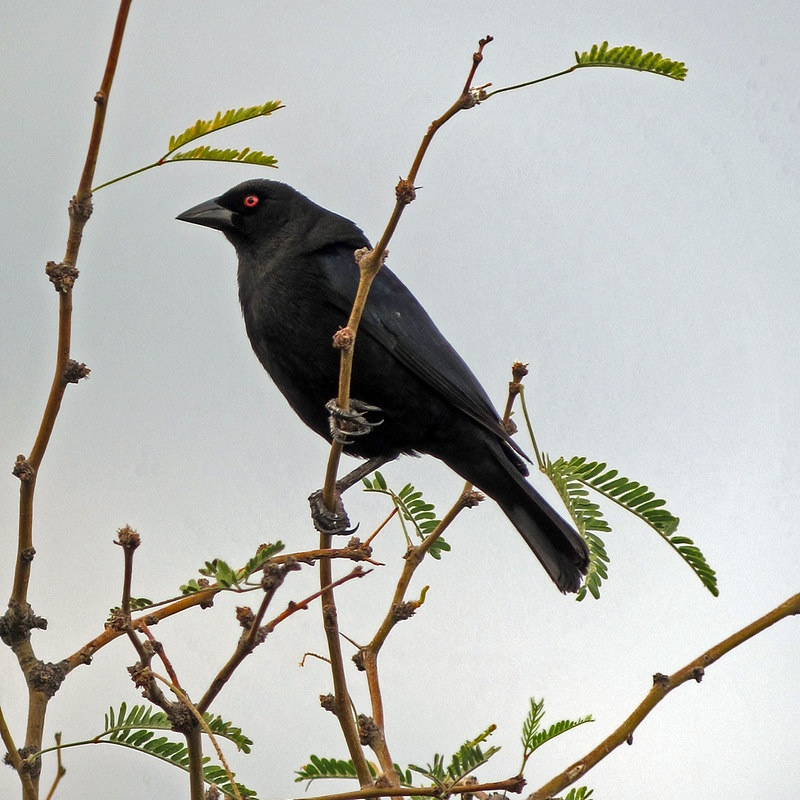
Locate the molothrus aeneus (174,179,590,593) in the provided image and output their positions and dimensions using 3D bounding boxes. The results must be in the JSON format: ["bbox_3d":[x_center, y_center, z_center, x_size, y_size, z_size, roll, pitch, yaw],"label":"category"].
[{"bbox_3d":[-0.070,-0.135,4.791,1.527,1.285,0.611,5,-16,-31],"label":"molothrus aeneus"}]
